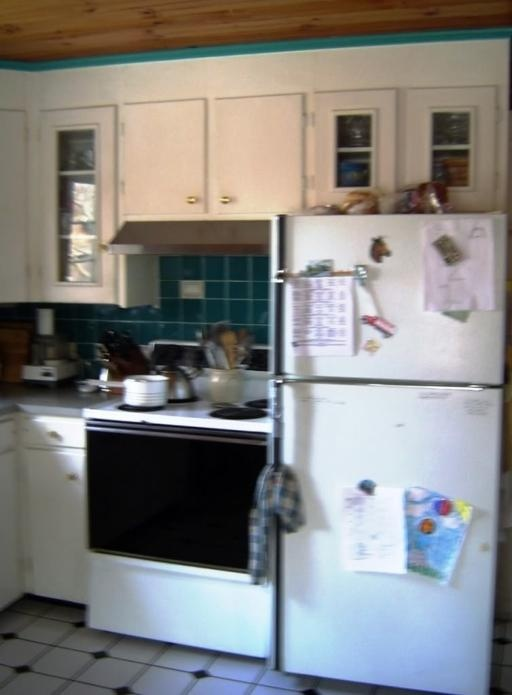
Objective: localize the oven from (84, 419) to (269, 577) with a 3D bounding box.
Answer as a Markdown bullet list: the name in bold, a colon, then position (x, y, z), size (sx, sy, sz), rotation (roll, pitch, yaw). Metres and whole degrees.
- **oven**: position (-0.188, 0.525, 2.420), size (0.820, 0.535, 0.423), rotation (-2, -6, 30)

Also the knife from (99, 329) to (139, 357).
- **knife**: position (-0.569, -0.010, 2.698), size (0.144, 0.087, 0.083), rotation (4, 5, 25)

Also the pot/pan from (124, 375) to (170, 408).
- **pot/pan**: position (-0.407, 0.153, 2.374), size (0.127, 0.077, 0.129), rotation (-1, 2, -42)

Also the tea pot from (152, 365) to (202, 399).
- **tea pot**: position (-0.303, 0.146, 2.532), size (0.157, 0.099, 0.098), rotation (0, -1, -20)

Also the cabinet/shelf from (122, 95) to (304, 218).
- **cabinet/shelf**: position (-0.137, -0.717, 2.469), size (0.756, 0.428, 0.247), rotation (6, 12, 22)
